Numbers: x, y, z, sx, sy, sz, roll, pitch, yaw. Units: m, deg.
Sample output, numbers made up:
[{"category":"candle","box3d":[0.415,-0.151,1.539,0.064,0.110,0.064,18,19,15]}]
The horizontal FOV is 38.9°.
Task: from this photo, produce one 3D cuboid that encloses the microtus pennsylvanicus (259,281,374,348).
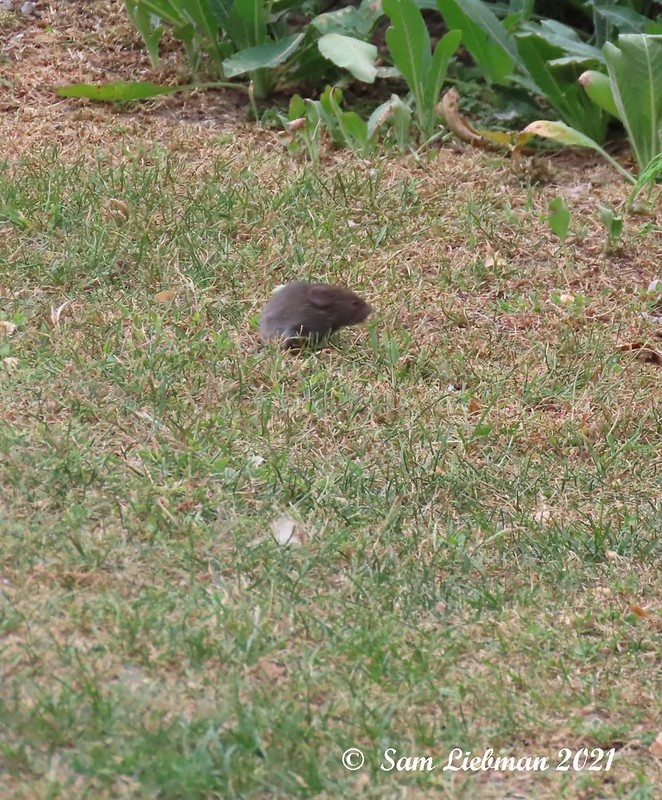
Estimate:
[{"category":"microtus pennsylvanicus","box3d":[-0.057,-0.326,3.573,0.427,0.184,0.201,-2,39,-2]}]
